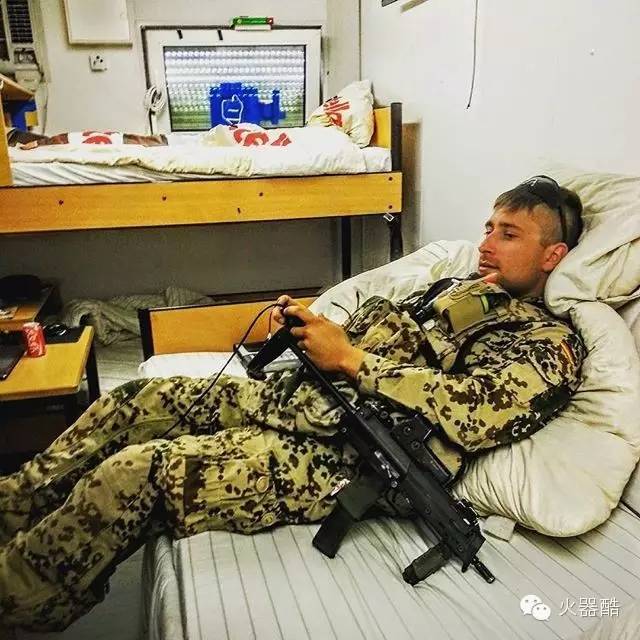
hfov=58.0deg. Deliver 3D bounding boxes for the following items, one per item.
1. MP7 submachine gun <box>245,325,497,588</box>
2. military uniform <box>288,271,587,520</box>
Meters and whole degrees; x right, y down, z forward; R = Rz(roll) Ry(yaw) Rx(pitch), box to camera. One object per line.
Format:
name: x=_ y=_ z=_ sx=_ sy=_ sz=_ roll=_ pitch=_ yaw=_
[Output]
MP7 submachine gun: x=0.086 y=0.231 z=1.153 sx=0.567 sy=0.401 sz=0.320 roll=7 pitch=22 yaw=23
military uniform: x=0.269 y=0.092 z=1.333 sx=0.598 sy=0.232 sz=0.467 roll=-20 pitch=20 yaw=-4
